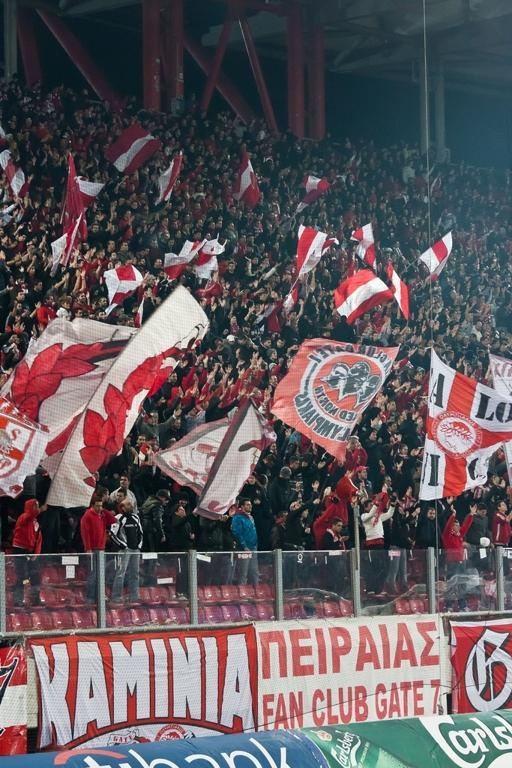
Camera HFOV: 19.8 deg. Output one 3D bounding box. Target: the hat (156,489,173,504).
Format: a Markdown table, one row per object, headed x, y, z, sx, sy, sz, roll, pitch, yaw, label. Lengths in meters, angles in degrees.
| x | y | z | sx | sy | sz | roll | pitch | yaw | label |
| --- | --- | --- | --- | --- | --- | --- | --- | --- | --- |
| -1.000 | 1.197 | 16.117 | 0.125 | 0.162 | 0.163 | 24 | -31 | 18 | hat |
